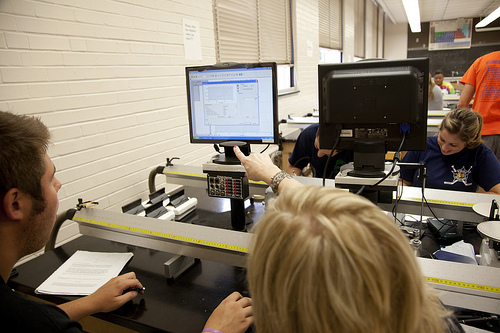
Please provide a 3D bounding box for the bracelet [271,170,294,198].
[{"bbox_3d":[0.153,0.083,1.673,0.095,0.077,0.118,-26,6,8],"label":"bracelet"}]

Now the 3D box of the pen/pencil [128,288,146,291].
[{"bbox_3d":[-0.497,0.540,1.513,0.040,0.012,0.028,3,-25,-22],"label":"pen/pencil"}]
